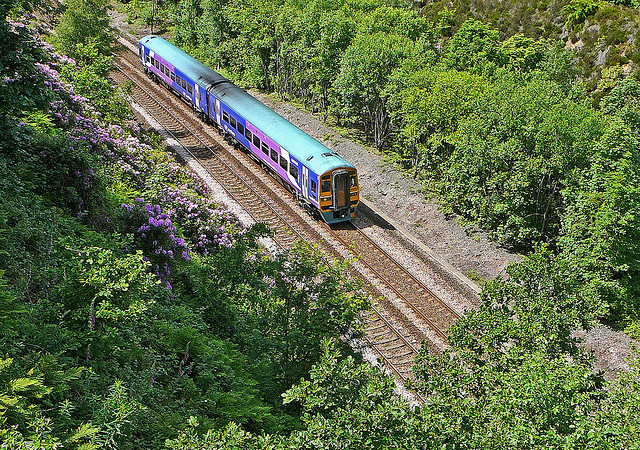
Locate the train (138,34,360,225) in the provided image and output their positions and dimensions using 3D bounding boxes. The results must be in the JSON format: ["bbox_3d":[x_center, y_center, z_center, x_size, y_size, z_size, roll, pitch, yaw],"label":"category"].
[{"bbox_3d":[-6.304,-8.239,53.818,3.153,4.652,27.195,-19,40,-29],"label":"train"}]

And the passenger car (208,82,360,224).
[{"bbox_3d":[-2.860,-5.293,49.810,3.072,4.004,17.009,-18,36,-25],"label":"passenger car"}]
